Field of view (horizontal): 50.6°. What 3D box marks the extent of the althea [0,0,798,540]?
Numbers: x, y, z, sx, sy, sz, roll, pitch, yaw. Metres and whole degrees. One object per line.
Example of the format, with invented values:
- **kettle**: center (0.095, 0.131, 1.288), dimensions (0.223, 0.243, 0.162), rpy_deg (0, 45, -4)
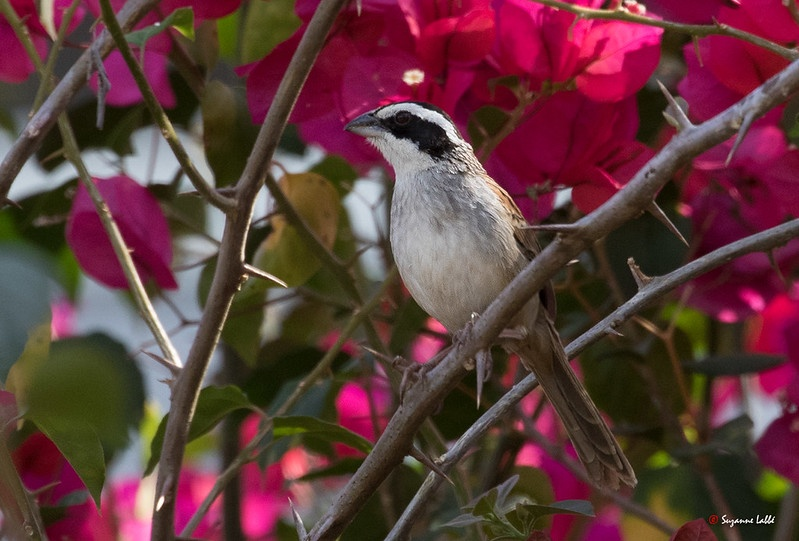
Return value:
- **althea**: center (-0.166, -0.026, 2.487), dimensions (2.316, 1.656, 0.994), rpy_deg (3, -29, -2)
